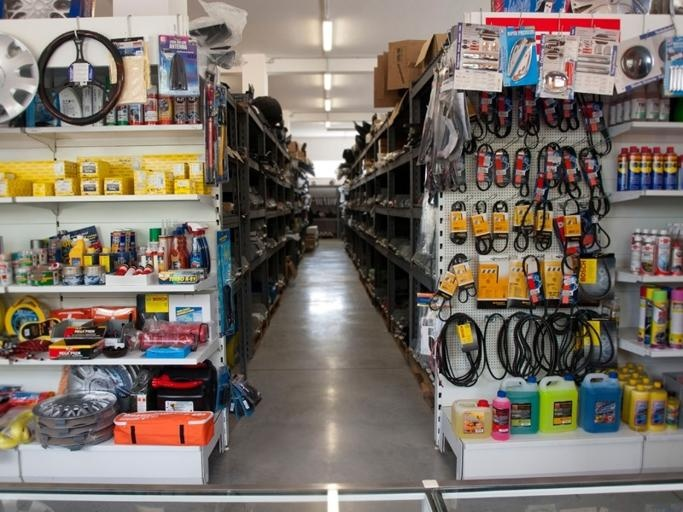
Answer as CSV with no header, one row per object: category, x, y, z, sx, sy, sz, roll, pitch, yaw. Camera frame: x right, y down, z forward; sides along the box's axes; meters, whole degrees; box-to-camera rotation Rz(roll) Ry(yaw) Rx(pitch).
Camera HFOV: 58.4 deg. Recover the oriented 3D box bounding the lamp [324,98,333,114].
lamp,-0.328,-3.665,14.883,0.173,0.318,0.179,0,2,-2
